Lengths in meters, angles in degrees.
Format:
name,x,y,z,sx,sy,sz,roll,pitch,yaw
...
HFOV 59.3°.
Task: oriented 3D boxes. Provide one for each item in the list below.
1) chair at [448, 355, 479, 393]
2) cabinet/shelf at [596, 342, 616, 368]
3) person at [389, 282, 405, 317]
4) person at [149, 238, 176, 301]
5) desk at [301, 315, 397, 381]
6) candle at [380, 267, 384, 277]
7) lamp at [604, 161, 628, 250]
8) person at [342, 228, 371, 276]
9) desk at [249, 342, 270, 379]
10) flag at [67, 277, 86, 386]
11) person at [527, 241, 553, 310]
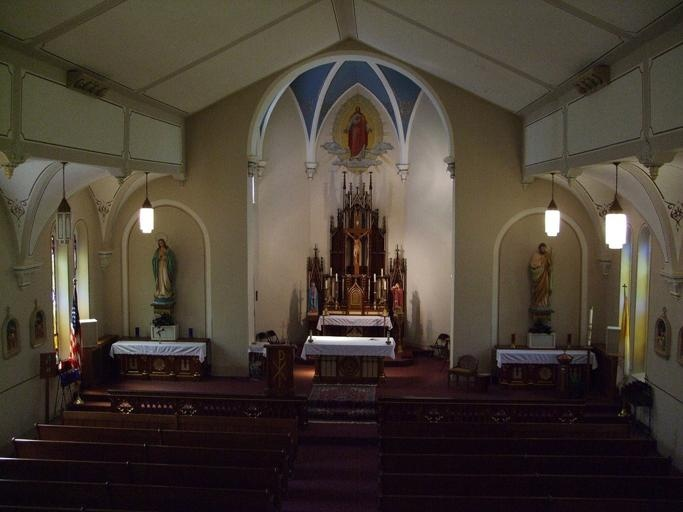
name,x,y,z,sx,sy,sz,roll,pitch,yaw
chair,2.970,2.847,14.587,0.542,0.894,0.615,5,-3,-37
cabinet/shelf,6.143,2.381,13.984,0.299,0.526,0.848,1,-1,3
person,1.610,1.282,17.679,0.420,1.015,0.365,1,-1,5
person,-4.506,0.398,15.194,0.561,1.620,0.382,1,-1,-20
desk,0.174,2.405,15.983,2.374,1.529,3.204,1,-1,3
candle,1.205,0.481,18.142,0.102,0.223,0.237,1,-1,3
lamp,5.297,-0.937,11.609,0.322,1.564,2.876,0,-1,24
person,0.443,-0.146,18.041,0.788,1.759,0.223,1,-24,0
desk,-2.177,2.677,15.560,0.434,0.881,0.703,1,-1,1
flag,-6.149,1.744,13.886,0.286,2.400,0.891,1,-1,-24
person,4.868,0.512,14.617,0.618,1.588,0.440,1,-1,-2
